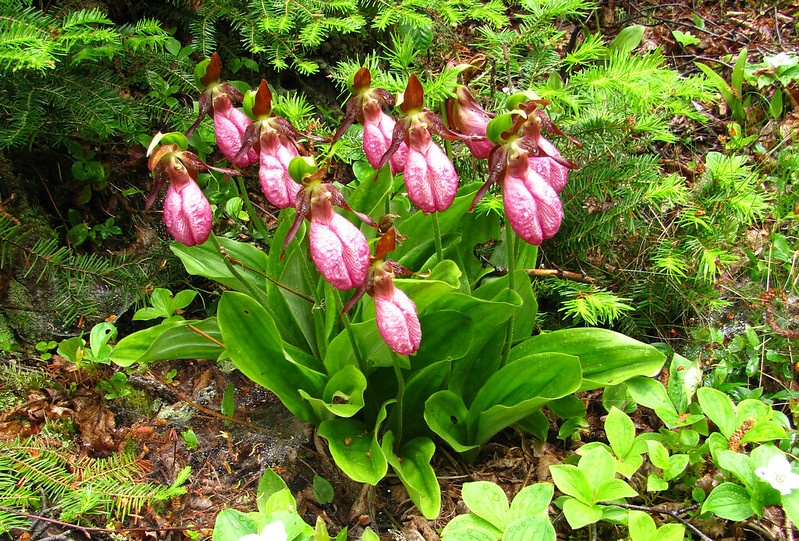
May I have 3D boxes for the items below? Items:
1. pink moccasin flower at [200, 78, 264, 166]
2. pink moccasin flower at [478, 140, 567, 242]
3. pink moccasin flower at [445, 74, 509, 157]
[{"bbox_3d":[-0.983,-0.890,3.852,0.262,0.551,0.214,-25,17,-25],"label":"pink moccasin flower"},{"bbox_3d":[0.658,-0.416,3.402,0.467,0.374,0.208,31,42,15],"label":"pink moccasin flower"},{"bbox_3d":[0.427,-0.888,3.753,0.266,0.442,0.182,-13,6,18],"label":"pink moccasin flower"}]
